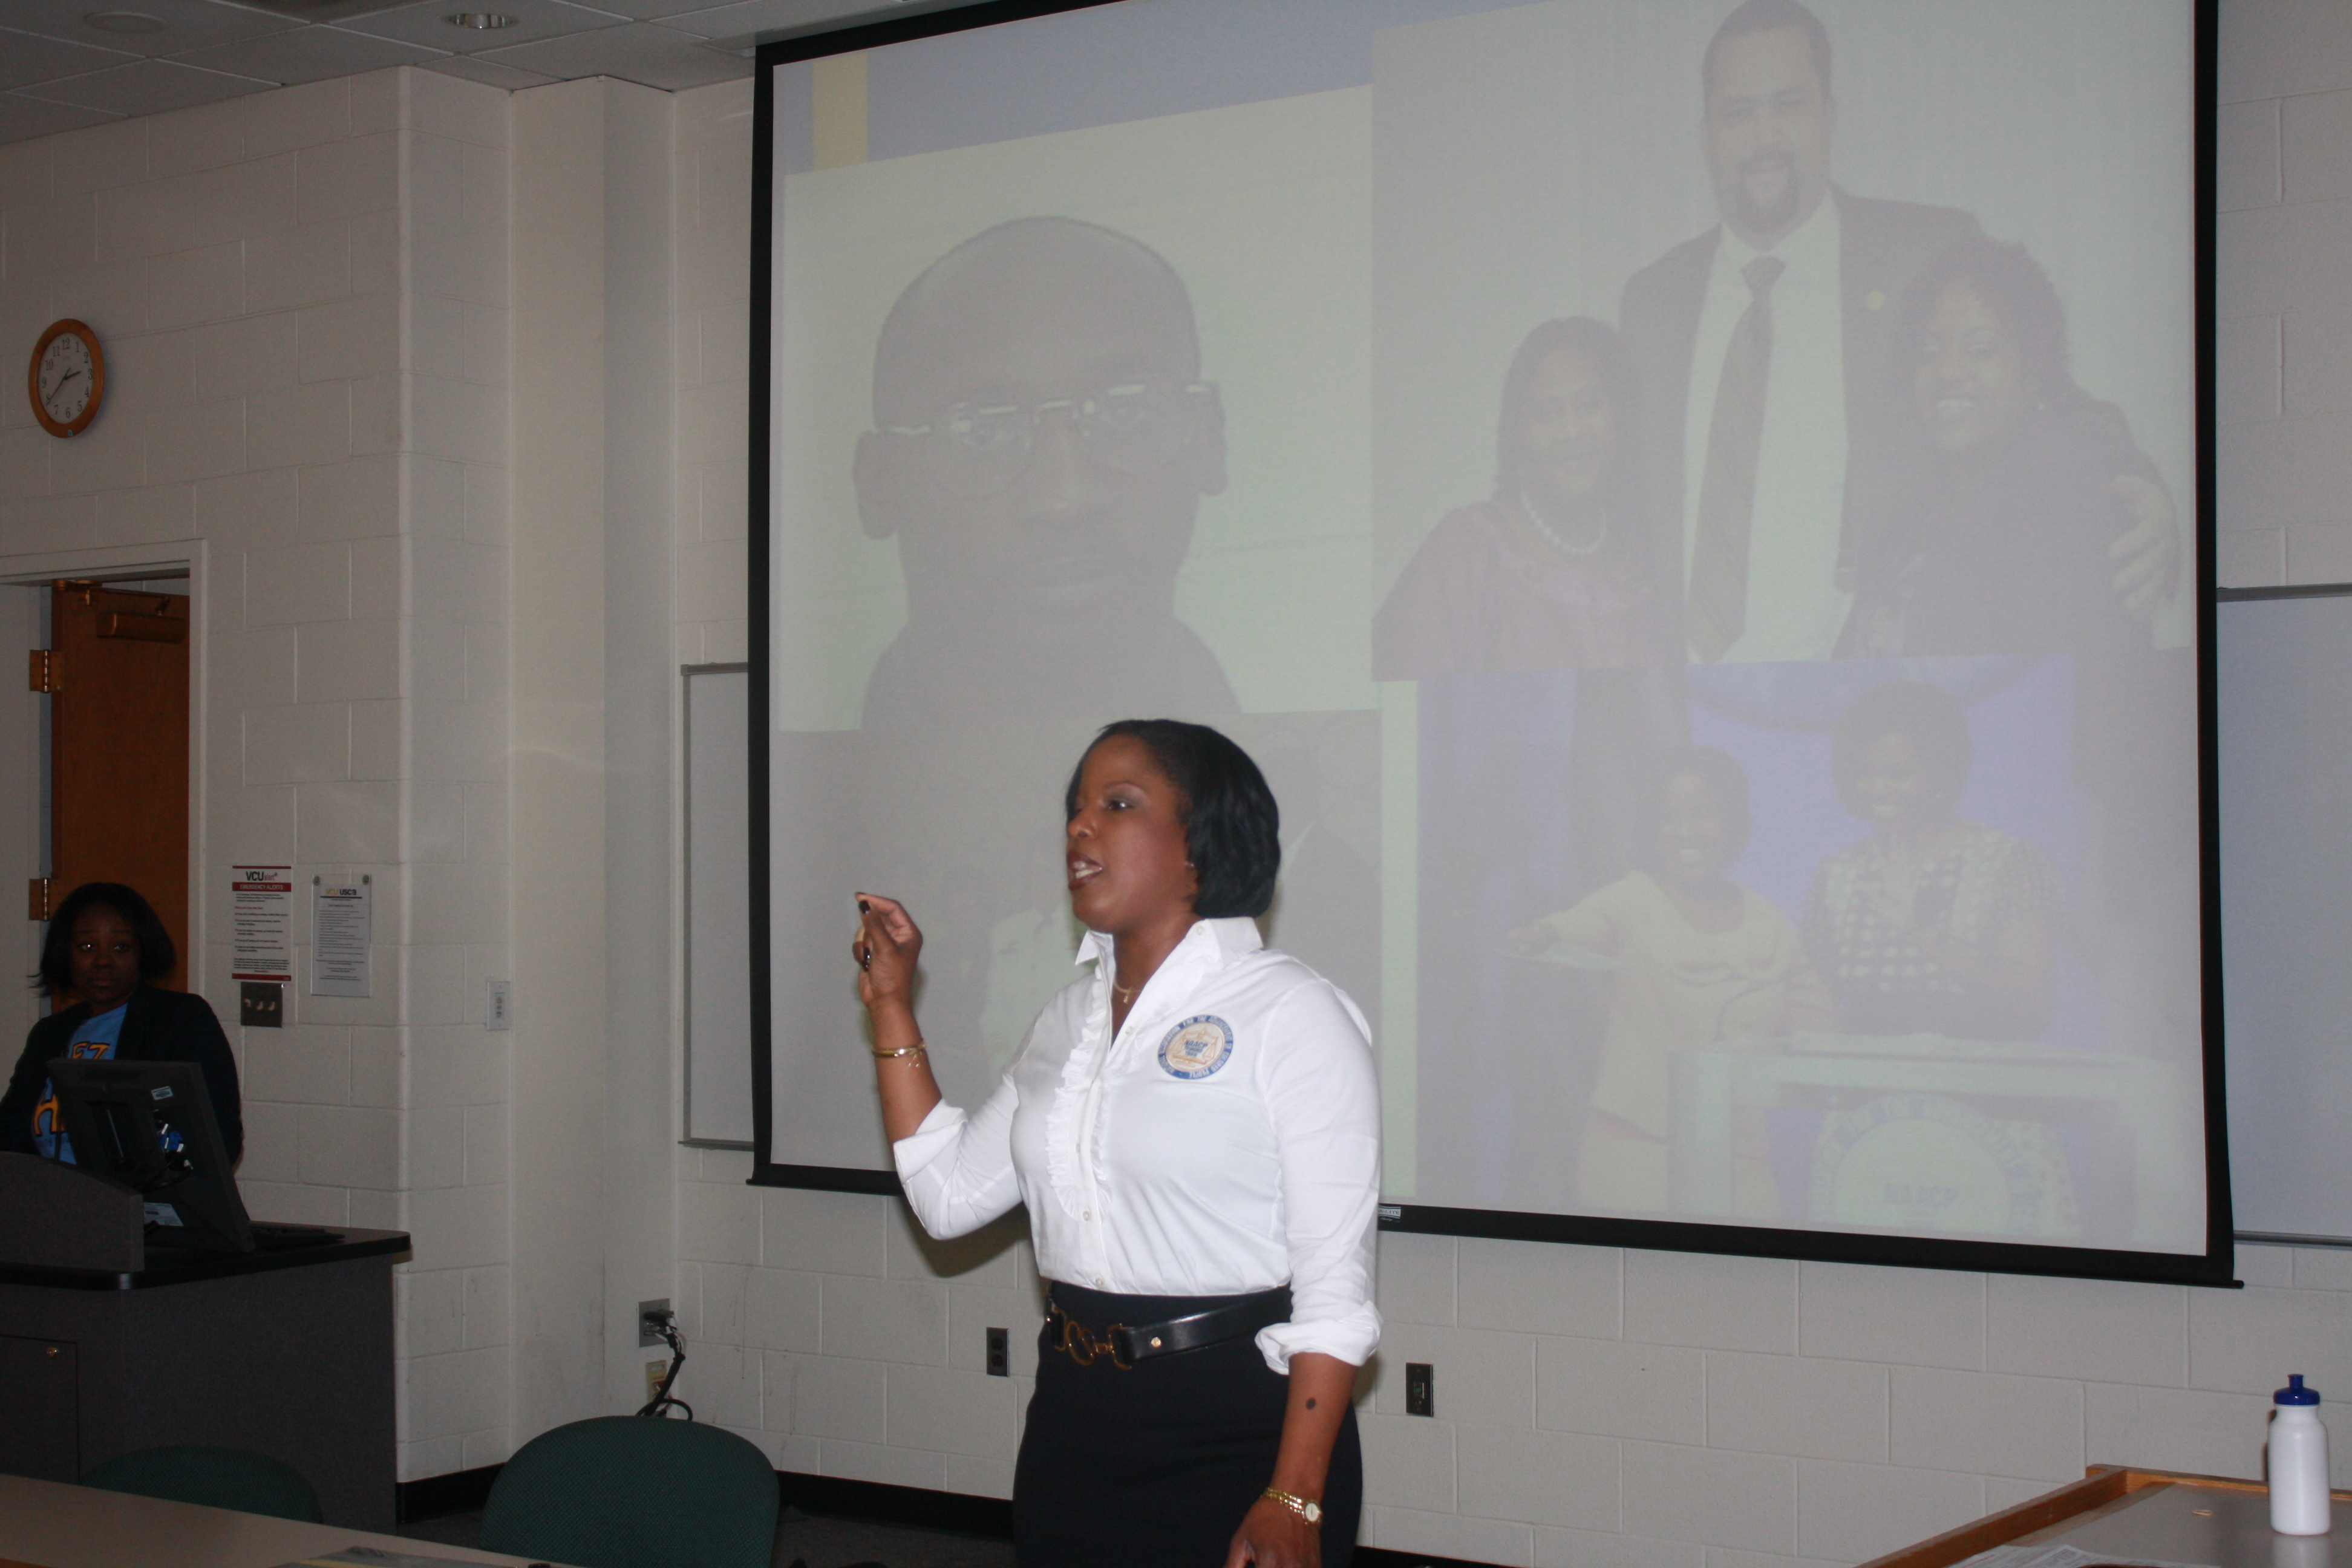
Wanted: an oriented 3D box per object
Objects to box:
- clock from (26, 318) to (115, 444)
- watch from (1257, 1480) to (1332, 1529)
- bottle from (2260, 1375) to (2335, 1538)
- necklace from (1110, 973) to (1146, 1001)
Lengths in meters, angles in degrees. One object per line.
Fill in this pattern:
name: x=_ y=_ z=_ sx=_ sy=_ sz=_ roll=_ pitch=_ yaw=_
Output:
clock: x=-3.814 y=-1.398 z=6.577 sx=0.403 sy=0.402 sz=0.043 roll=9 pitch=-1 yaw=34
watch: x=0.172 y=1.070 z=2.816 sx=0.064 sy=0.031 sz=0.065 roll=19 pitch=-13 yaw=26
bottle: x=1.848 y=1.105 z=3.140 sx=0.085 sy=0.236 sz=0.184 roll=0 pitch=-3 yaw=31
necklace: x=-0.081 y=0.328 z=3.081 sx=0.033 sy=0.046 sz=0.017 roll=0 pitch=-6 yaw=9
